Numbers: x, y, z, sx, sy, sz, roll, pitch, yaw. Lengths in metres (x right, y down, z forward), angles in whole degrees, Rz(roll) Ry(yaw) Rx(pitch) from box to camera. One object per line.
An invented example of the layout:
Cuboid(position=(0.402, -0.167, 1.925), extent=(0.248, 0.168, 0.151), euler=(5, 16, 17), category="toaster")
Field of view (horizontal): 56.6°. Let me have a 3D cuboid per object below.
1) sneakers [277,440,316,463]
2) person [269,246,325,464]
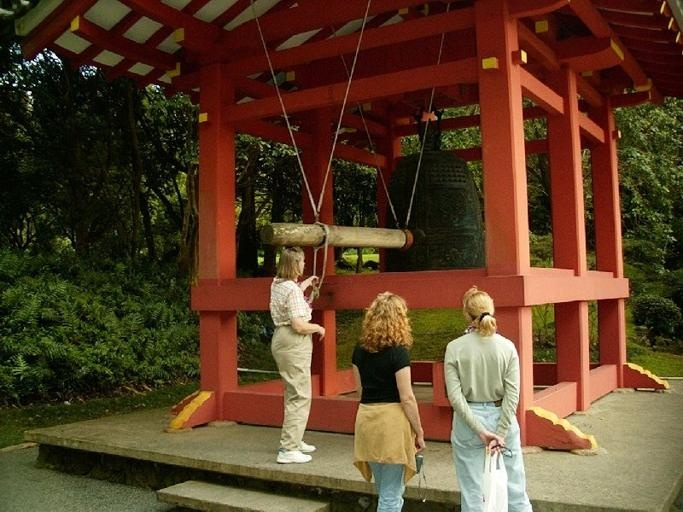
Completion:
Cuboid(position=(-0.460, 1.955, 6.324), extent=(0.411, 0.198, 0.151), euler=(-6, 14, -12), category="sneakers")
Cuboid(position=(-0.473, 0.976, 6.560), extent=(0.535, 2.123, 0.774), euler=(1, -4, -5), category="person")
